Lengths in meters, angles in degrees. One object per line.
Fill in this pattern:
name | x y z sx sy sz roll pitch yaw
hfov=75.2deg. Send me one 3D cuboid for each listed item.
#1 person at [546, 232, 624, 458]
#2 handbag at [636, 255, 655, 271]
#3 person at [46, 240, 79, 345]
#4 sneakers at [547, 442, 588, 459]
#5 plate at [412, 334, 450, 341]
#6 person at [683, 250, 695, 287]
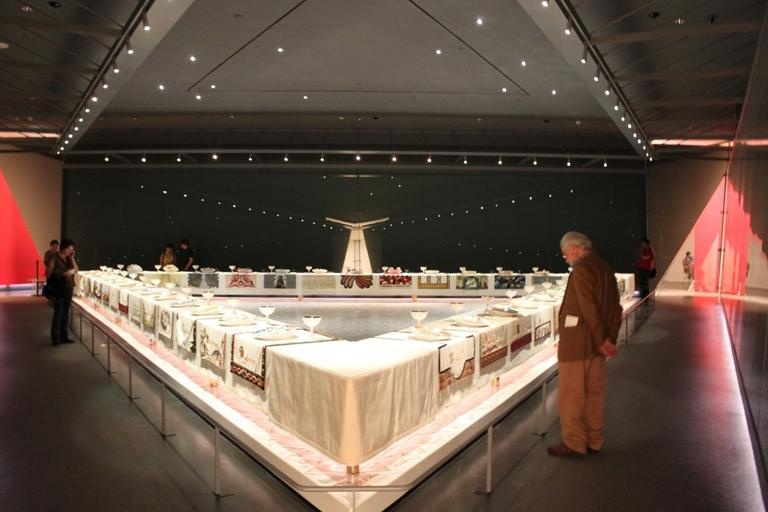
person | 1.966 0.859 4.974 0.817 2.166 0.371 -2 3 -23
handbag | 6.886 0.220 13.082 0.370 0.411 0.409 1 -6 -3
person | -5.596 0.613 8.631 0.429 1.765 0.806 -3 3 -32
sneakers | 1.775 1.905 4.860 0.306 0.137 0.140 4 -2 10
plate | 0.478 0.872 5.215 0.403 0.055 0.131 -1 3 4
person | 9.605 0.480 15.668 0.255 1.161 0.574 -1 3 15
